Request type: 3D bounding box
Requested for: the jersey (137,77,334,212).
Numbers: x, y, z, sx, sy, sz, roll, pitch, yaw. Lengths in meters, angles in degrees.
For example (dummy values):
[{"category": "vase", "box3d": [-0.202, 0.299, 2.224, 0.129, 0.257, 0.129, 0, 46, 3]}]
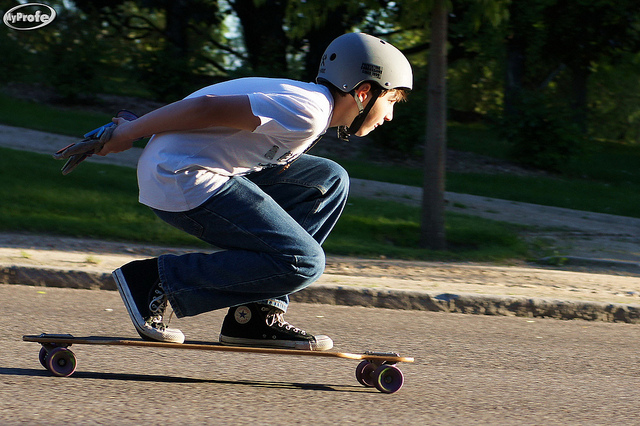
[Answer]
[{"category": "jersey", "box3d": [-0.900, -0.655, 9.672, 2.163, 0.789, 1.474, -11, 9, -4]}]
